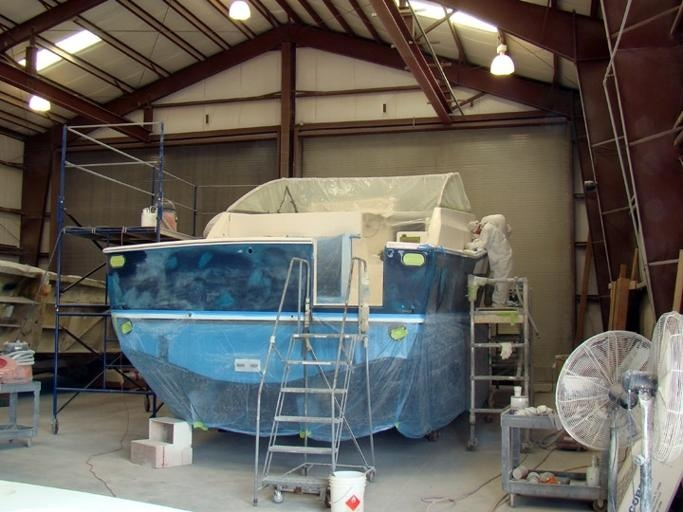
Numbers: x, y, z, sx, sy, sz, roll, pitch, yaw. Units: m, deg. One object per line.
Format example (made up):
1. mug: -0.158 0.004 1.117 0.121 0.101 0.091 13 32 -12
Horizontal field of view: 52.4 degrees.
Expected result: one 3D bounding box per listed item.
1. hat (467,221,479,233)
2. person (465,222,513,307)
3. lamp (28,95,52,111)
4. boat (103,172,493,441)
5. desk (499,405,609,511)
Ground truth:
1. hat: 1.920 -0.428 10.163 0.130 0.185 0.144 -9 -4 8
2. person: 2.140 -0.128 10.223 0.468 0.458 1.410 -11 -41 3
3. lamp: -5.992 -2.993 13.709 0.346 0.336 0.345 -6 11 -43
4. boat: -0.485 0.436 8.900 4.223 3.636 3.077 0 -6 11
5. desk: 2.168 2.033 7.222 0.913 0.838 0.937 0 -4 17
